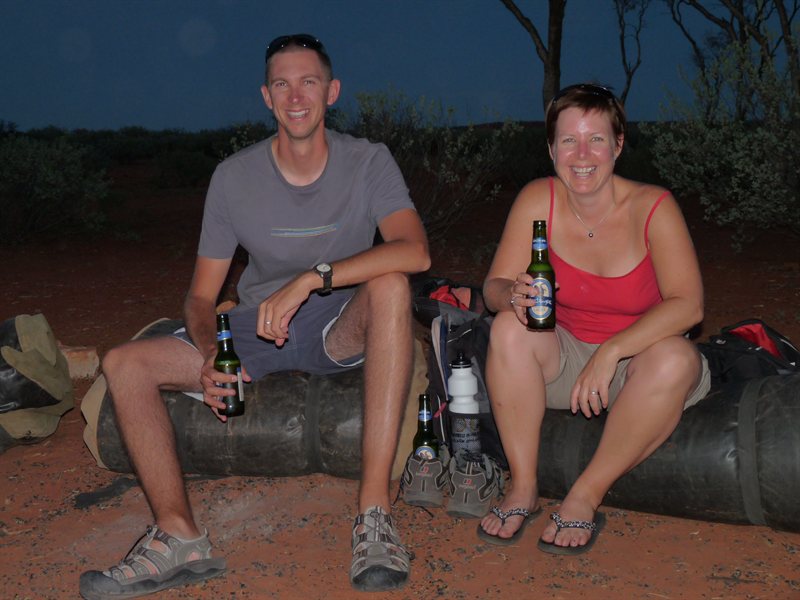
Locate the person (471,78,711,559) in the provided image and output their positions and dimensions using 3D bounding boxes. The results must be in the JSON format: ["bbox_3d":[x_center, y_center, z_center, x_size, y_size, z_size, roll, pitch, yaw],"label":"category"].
[{"bbox_3d":[0.851,0.028,2.873,0.999,2.014,0.873,5,14,26],"label":"person"}]

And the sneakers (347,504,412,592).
[{"bbox_3d":[-0.076,1.036,2.610,0.246,0.281,0.222,-1,13,1],"label":"sneakers"}]

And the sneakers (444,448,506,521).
[{"bbox_3d":[0.374,0.893,3.102,0.164,0.181,0.384,1,18,8],"label":"sneakers"}]

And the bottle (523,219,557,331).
[{"bbox_3d":[0.675,-0.123,2.961,0.131,0.502,0.351,1,13,13],"label":"bottle"}]

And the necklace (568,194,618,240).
[{"bbox_3d":[0.909,-0.397,3.003,0.155,0.230,0.080,-4,11,14],"label":"necklace"}]

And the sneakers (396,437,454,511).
[{"bbox_3d":[0.130,0.890,3.122,0.181,0.149,0.349,2,35,10],"label":"sneakers"}]

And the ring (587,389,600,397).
[{"bbox_3d":[0.879,0.412,2.784,0.040,0.033,0.029,-2,13,-3],"label":"ring"}]
